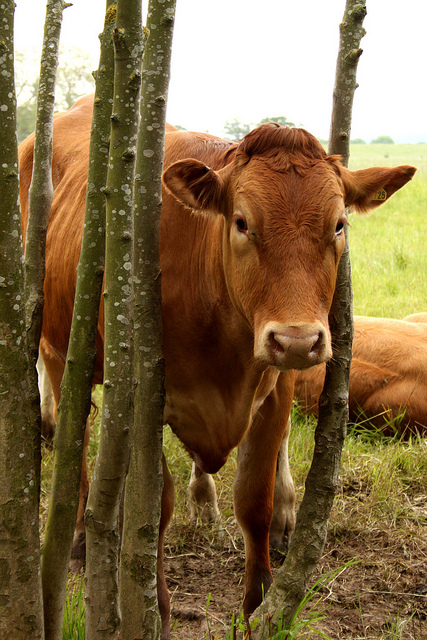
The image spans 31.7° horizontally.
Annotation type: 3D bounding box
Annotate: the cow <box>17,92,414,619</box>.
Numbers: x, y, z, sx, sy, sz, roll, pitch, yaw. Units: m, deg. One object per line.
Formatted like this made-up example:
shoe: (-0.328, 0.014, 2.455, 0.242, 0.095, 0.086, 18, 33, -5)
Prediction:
cow: (-0.090, 0.220, 3.183, 1.072, 2.144, 2.102, -13, 13, -26)

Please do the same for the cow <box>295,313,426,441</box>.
cow: (1.032, 0.340, 5.380, 0.576, 0.719, 1.145, -6, 13, -27)
